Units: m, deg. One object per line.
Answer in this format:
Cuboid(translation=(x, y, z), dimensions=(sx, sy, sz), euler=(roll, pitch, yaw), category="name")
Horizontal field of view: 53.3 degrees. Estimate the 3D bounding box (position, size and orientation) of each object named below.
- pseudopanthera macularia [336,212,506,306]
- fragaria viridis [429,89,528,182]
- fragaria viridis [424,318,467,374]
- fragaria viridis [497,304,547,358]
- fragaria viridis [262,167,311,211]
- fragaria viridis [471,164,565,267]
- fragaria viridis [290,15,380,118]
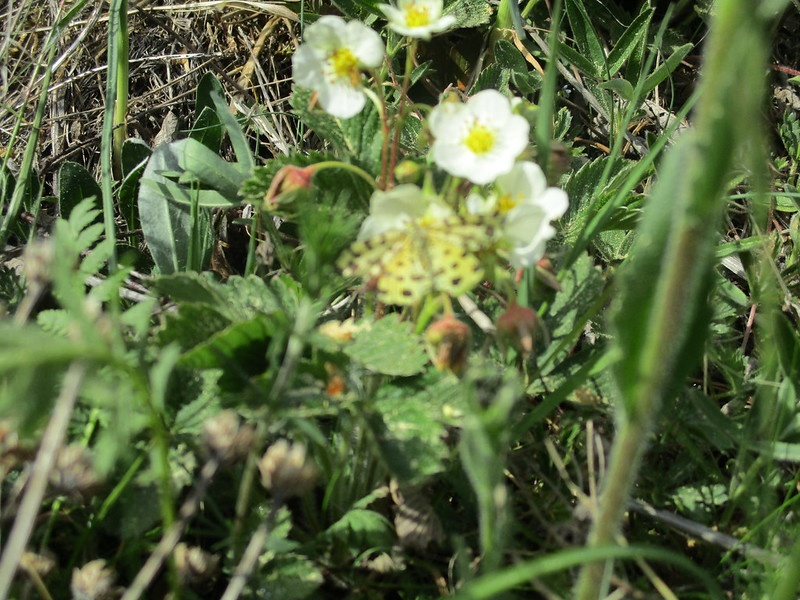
Cuboid(translation=(0.038, -0.078, 1.465), dimensions=(0.245, 0.077, 0.171), euler=(-7, 56, 0), category="pseudopanthera macularia")
Cuboid(translation=(0.154, -0.317, 1.552), dimensions=(0.162, 0.062, 0.200), euler=(3, 69, 3), category="fragaria viridis")
Cuboid(translation=(0.082, 0.099, 1.503), dimensions=(0.075, 0.114, 0.043), euler=(19, 49, 23), category="fragaria viridis")
Cuboid(translation=(0.230, 0.069, 1.545), dimensions=(0.078, 0.133, 0.090), euler=(10, 27, 28), category="fragaria viridis")
Cuboid(translation=(-0.212, -0.215, 1.540), dimensions=(0.093, 0.076, 0.088), euler=(11, 29, 29), category="fragaria viridis")
Cuboid(translation=(0.234, -0.152, 1.594), dimensions=(0.175, 0.093, 0.206), euler=(23, 70, -5), category="fragaria viridis")
Cuboid(translation=(-0.123, -0.473, 1.599), dimensions=(0.157, 0.208, 0.077), euler=(5, 23, 5), category="fragaria viridis")
